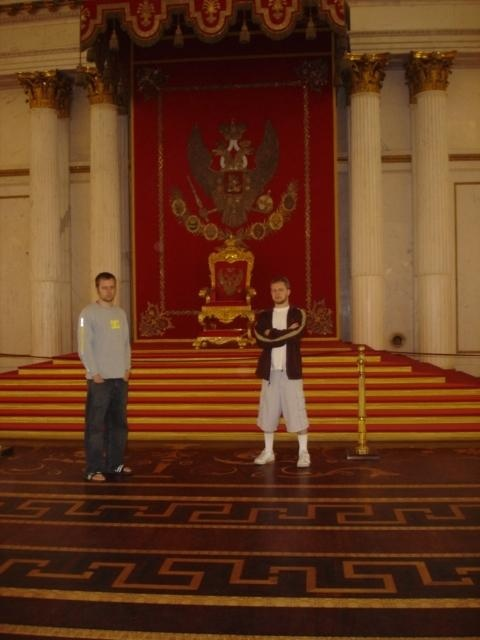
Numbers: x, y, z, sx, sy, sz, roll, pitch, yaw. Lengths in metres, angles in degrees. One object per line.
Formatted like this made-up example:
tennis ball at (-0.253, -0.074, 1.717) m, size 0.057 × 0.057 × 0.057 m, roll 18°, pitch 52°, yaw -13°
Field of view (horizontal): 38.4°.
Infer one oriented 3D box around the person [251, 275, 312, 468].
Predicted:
person at (0.326, 0.410, 5.480) m, size 0.447 × 1.278 × 0.459 m, roll -1°, pitch 0°, yaw 6°

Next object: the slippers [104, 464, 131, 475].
slippers at (-0.917, 1.117, 5.172) m, size 0.184 × 0.072 × 0.070 m, roll -2°, pitch 4°, yaw 7°

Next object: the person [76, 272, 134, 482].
person at (-1.001, 0.408, 5.081) m, size 0.338 × 1.460 × 0.473 m, roll -1°, pitch 0°, yaw 6°

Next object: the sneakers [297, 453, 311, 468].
sneakers at (0.493, 1.086, 5.331) m, size 0.082 × 0.087 × 0.208 m, roll 0°, pitch -9°, yaw 5°

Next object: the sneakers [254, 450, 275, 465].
sneakers at (0.193, 1.096, 5.492) m, size 0.071 × 0.081 × 0.192 m, roll -4°, pitch -10°, yaw 30°

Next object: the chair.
chair at (-0.197, -0.431, 9.752) m, size 0.815 × 1.432 × 2.107 m, roll -1°, pitch 1°, yaw 2°
